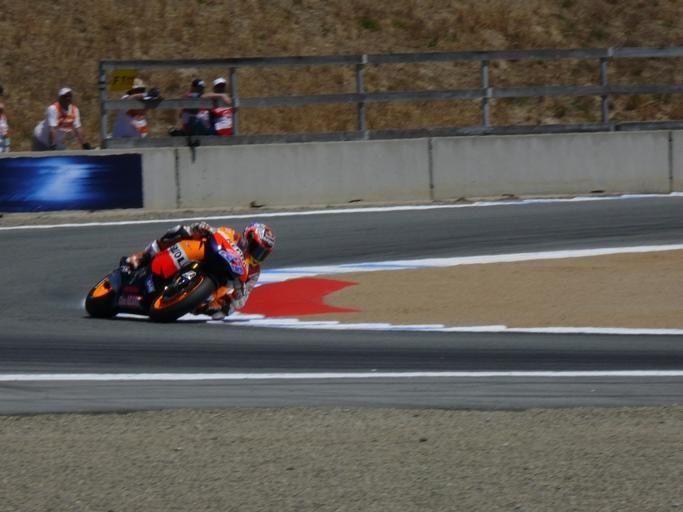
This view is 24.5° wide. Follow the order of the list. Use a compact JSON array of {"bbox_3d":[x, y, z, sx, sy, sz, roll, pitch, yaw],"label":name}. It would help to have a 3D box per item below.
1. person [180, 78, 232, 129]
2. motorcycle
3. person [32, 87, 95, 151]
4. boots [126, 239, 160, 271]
[{"bbox_3d":[-2.403,-2.632,27.720,0.876,0.934,0.525,-1,11,-5],"label":"person"},{"bbox_3d":[-2.538,0.346,23.323,1.881,0.886,3.359,-38,17,-25],"label":"motorcycle"},{"bbox_3d":[-5.112,-2.407,27.903,0.506,1.056,1.044,10,14,43],"label":"person"},{"bbox_3d":[-2.981,-0.016,23.329,0.675,0.154,0.177,-26,45,4],"label":"boots"}]
